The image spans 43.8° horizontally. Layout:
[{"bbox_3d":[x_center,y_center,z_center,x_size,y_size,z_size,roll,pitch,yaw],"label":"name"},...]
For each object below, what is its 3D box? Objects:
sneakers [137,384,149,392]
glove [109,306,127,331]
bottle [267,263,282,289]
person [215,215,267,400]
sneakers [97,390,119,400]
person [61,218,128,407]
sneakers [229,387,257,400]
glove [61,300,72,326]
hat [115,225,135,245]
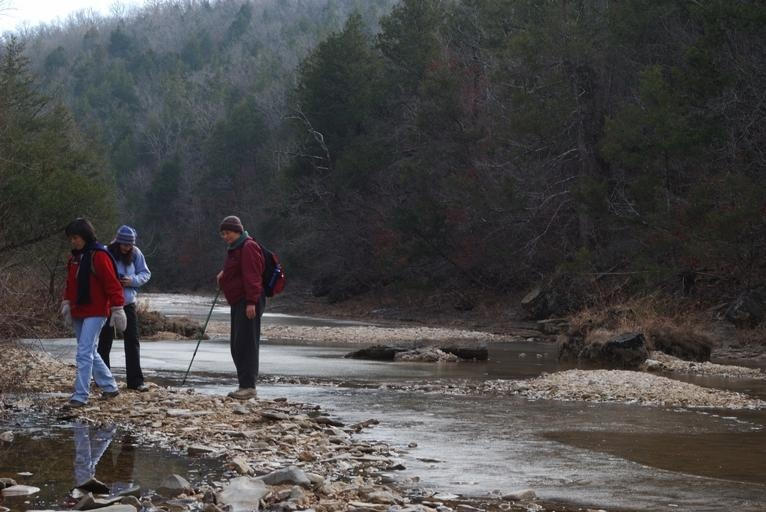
[{"bbox_3d":[-4.962,2.779,19.904,0.183,0.114,0.330,3,7,13],"label":"sneakers"},{"bbox_3d":[-5.314,1.292,19.172,0.169,0.460,0.452,3,1,-19],"label":"glove"},{"bbox_3d":[-2.286,0.449,20.405,0.118,0.449,0.332,13,3,-27],"label":"bottle"},{"bbox_3d":[-2.959,1.097,20.160,0.952,3.820,0.993,0,8,-9],"label":"person"},{"bbox_3d":[-5.523,2.840,19.213,0.413,0.179,0.151,0,-21,-2],"label":"sneakers"},{"bbox_3d":[-5.806,1.128,19.070,1.150,3.683,0.871,-1,8,-19],"label":"person"},{"bbox_3d":[-2.922,2.914,19.978,0.526,0.234,0.232,3,-4,-3],"label":"sneakers"},{"bbox_3d":[-6.294,1.141,19.033,0.169,0.502,0.237,-1,8,-17],"label":"glove"},{"bbox_3d":[-5.459,-0.430,20.265,0.409,0.376,0.552,7,-2,-33],"label":"hat"}]
